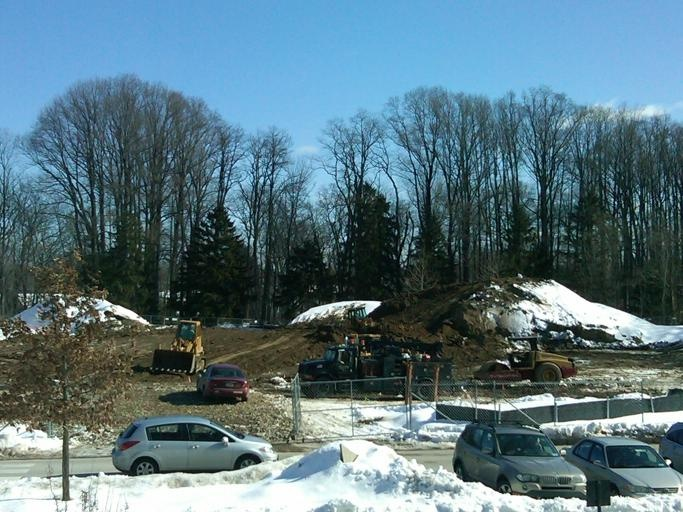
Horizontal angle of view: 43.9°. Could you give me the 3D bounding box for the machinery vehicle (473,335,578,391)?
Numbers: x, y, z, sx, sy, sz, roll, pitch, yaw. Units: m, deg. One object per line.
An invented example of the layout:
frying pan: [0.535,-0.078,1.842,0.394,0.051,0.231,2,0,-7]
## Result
machinery vehicle: [10.551,6.515,49.660,5.885,3.522,3.148,-1,-19,5]

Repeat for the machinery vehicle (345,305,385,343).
machinery vehicle: [1.626,5.259,65.937,1.549,2.545,4.682,-14,2,-34]

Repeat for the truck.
truck: [2.067,6.529,48.258,8.118,3.560,2.900,4,-12,-12]

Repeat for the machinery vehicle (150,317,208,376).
machinery vehicle: [-9.907,6.002,53.252,2.205,3.182,4.632,0,-6,9]

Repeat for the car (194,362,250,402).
car: [-6.326,6.599,44.863,2.119,1.910,5.180,5,-2,-15]

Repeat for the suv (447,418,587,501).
suv: [6.544,7.937,32.484,3.261,3.220,5.972,6,-6,-21]

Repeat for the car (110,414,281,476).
car: [-5.787,7.773,33.514,6.022,2.390,2.909,2,-12,-19]
